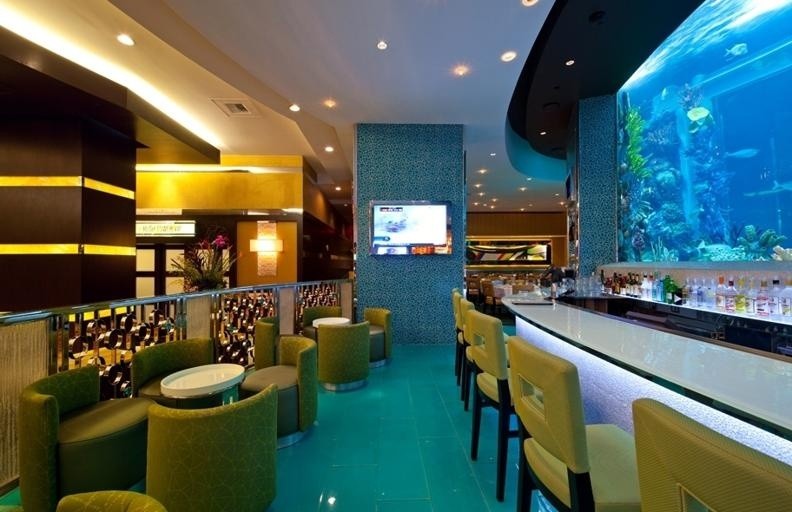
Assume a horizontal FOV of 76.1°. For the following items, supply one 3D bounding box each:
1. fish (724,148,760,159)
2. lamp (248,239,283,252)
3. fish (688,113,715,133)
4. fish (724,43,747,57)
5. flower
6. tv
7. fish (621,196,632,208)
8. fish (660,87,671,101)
[{"bbox_3d":[4.085,-1.194,5.956,0.064,0.140,0.365,-8,6,-12],"label":"fish"},{"bbox_3d":[-2.957,-0.226,11.279,0.886,0.247,0.306,0,1,2],"label":"lamp"},{"bbox_3d":[3.861,-1.657,6.381,0.027,0.185,0.365,-1,2,-16],"label":"fish"},{"bbox_3d":[4.052,-2.430,5.996,0.011,0.150,0.242,-1,2,-28],"label":"fish"},{"bbox_3d":[-3.605,0.071,9.458,1.280,1.226,1.197,1,6,1],"label":"flower"},{"bbox_3d":[0.248,-0.485,8.631,1.360,0.892,0.210,0,2,9],"label":"tv"},{"bbox_3d":[3.437,-0.797,7.551,0.032,0.148,0.149,15,-11,-27],"label":"fish"},{"bbox_3d":[3.672,-2.203,6.873,0.030,0.115,0.123,2,19,-8],"label":"fish"}]
